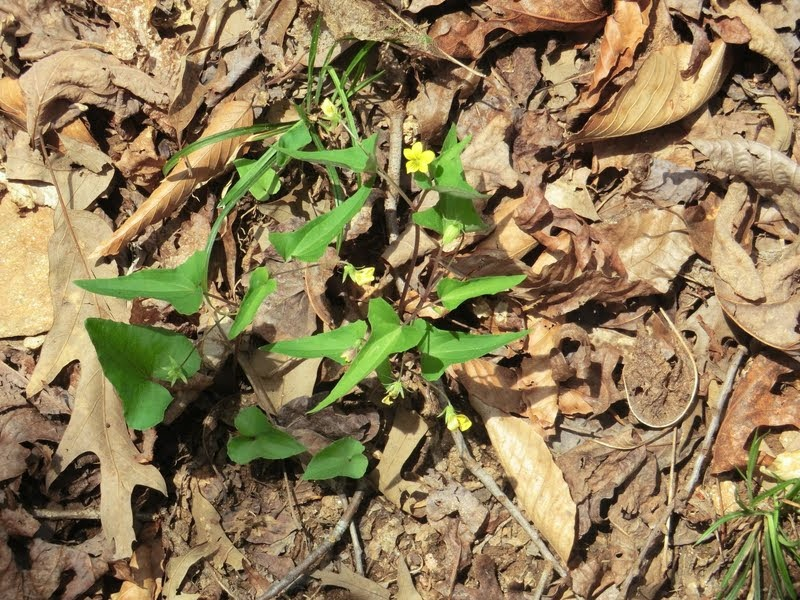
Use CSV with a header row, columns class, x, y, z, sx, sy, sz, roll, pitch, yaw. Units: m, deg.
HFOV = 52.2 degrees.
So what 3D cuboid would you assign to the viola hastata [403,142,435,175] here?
class,x,y,z,sx,sy,sz,roll,pitch,yaw
viola hastata,0.082,-0.589,3.500,0.123,0.212,0.109,-7,60,-7
